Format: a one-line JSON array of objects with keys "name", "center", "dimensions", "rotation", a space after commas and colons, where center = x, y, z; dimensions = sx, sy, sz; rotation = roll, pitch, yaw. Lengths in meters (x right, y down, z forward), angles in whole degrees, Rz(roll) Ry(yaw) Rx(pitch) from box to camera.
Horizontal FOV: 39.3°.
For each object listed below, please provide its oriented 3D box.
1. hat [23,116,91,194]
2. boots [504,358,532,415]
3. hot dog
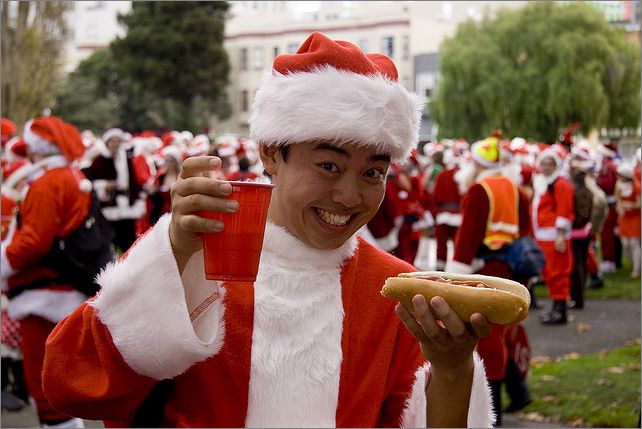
[{"name": "hat", "center": [-2.325, -0.568, 8.388], "dimensions": [0.623, 0.680, 0.556], "rotation": [7, 2, 7]}, {"name": "boots", "center": [1.931, 1.701, 8.863], "dimensions": [0.266, 0.515, 0.395], "rotation": [-4, -14, 16]}, {"name": "hot dog", "center": [0.831, 0.539, 5.507], "dimensions": [0.739, 0.263, 0.389], "rotation": [5, -23, 7]}]
